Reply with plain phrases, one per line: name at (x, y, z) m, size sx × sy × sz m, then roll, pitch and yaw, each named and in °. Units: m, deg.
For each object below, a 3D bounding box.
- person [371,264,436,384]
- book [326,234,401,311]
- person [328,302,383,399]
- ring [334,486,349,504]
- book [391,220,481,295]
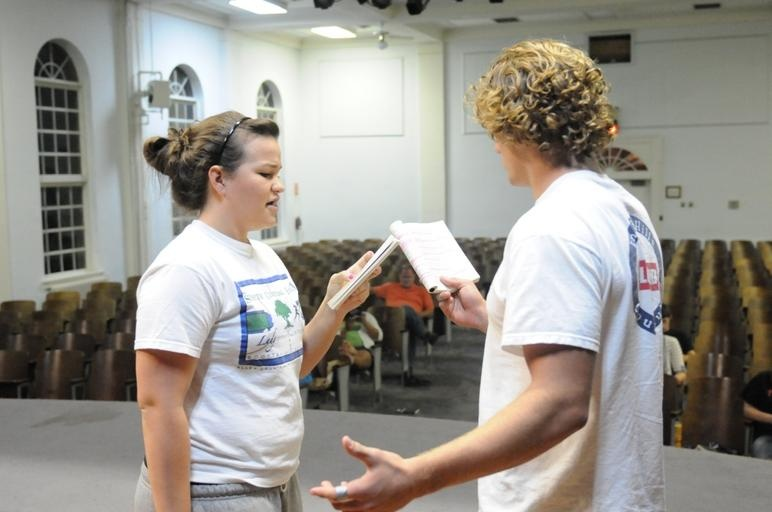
person at (0.216, 0.576, 7.443) m, size 0.502 × 1.184 × 0.630 m, roll 3°, pitch -24°, yaw -7°
book at (-0.067, 0.088, 2.756) m, size 0.087 × 0.442 × 0.133 m, roll 31°, pitch 29°, yaw -28°
person at (-0.263, 0.801, 6.657) m, size 0.413 × 0.963 × 0.496 m, roll -1°, pitch 5°, yaw 23°
ring at (-0.131, 0.693, 2.095) m, size 0.035 × 0.048 × 0.043 m, roll 3°, pitch 29°, yaw 4°
book at (0.175, -0.015, 2.635) m, size 0.238 × 0.314 × 0.114 m, roll -15°, pitch -31°, yaw -23°
